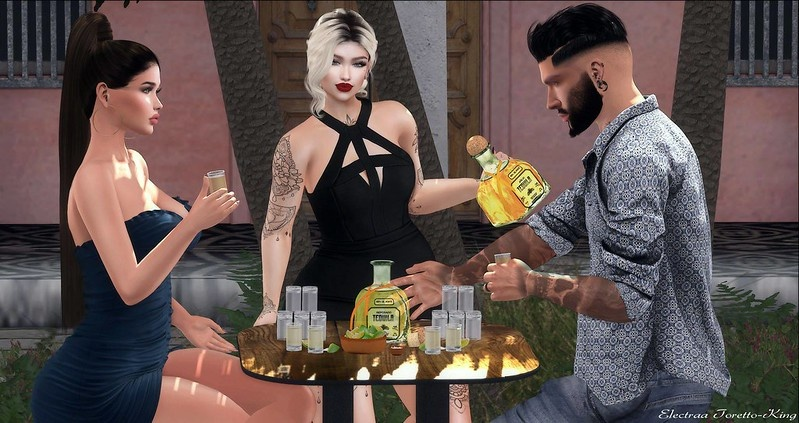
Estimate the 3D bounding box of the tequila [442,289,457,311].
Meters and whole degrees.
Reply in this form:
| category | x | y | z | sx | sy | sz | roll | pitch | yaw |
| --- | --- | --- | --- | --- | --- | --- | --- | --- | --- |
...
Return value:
| category | x | y | z | sx | sy | sz | roll | pitch | yaw |
| --- | --- | --- | --- | --- | --- | --- | --- | --- | --- |
| tequila | 0.339 | 0.574 | 4.047 | 0.102 | 0.157 | 0.100 | -2 | 11 | 2 |

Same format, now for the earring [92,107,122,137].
| category | x | y | z | sx | sy | sz | roll | pitch | yaw |
| --- | --- | --- | --- | --- | --- | --- | --- | --- | --- |
| earring | -1.895 | -0.569 | 3.879 | 0.184 | 0.168 | 0.041 | -3 | 4 | -4 |

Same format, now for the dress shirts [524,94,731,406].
| category | x | y | z | sx | sy | sz | roll | pitch | yaw |
| --- | --- | --- | --- | --- | --- | --- | --- | --- | --- |
| dress shirts | 1.358 | 0.098 | 4.685 | 1.723 | 2.205 | 1.678 | 2 | 6 | 17 |

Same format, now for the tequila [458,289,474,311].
| category | x | y | z | sx | sy | sz | roll | pitch | yaw |
| --- | --- | --- | --- | --- | --- | --- | --- | --- | --- |
| tequila | 0.445 | 0.583 | 4.048 | 0.086 | 0.171 | 0.042 | -6 | 12 | -19 |

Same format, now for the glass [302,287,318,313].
| category | x | y | z | sx | sy | sz | roll | pitch | yaw |
| --- | --- | --- | --- | --- | --- | --- | --- | --- | --- |
| glass | -0.577 | 0.593 | 4.094 | 0.131 | 0.183 | 0.117 | -2 | -3 | -22 |

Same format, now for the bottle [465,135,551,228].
| category | x | y | z | sx | sy | sz | roll | pitch | yaw |
| --- | --- | --- | --- | --- | --- | --- | --- | --- | --- |
| bottle | 0.713 | -0.266 | 4.351 | 0.477 | 0.631 | 0.487 | -36 | 8 | 6 |

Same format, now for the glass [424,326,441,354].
| category | x | y | z | sx | sy | sz | roll | pitch | yaw |
| --- | --- | --- | --- | --- | --- | --- | --- | --- | --- |
| glass | 0.212 | 0.814 | 3.887 | 0.105 | 0.155 | 0.110 | -3 | 3 | -36 |

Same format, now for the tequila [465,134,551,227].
| category | x | y | z | sx | sy | sz | roll | pitch | yaw |
| --- | --- | --- | --- | --- | --- | --- | --- | --- | --- |
| tequila | 0.720 | -0.263 | 4.353 | 0.455 | 0.622 | 0.474 | -33 | 6 | 27 |

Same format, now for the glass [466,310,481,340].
| category | x | y | z | sx | sy | sz | roll | pitch | yaw |
| --- | --- | --- | --- | --- | --- | --- | --- | --- | --- |
| glass | 0.474 | 0.771 | 4.071 | 0.125 | 0.182 | 0.116 | 3 | -8 | -15 |

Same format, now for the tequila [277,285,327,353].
| category | x | y | z | sx | sy | sz | roll | pitch | yaw |
| --- | --- | --- | --- | --- | --- | --- | --- | --- | --- |
| tequila | -0.637 | 0.709 | 3.986 | 0.346 | 0.406 | 0.415 | 1 | -4 | -7 |
